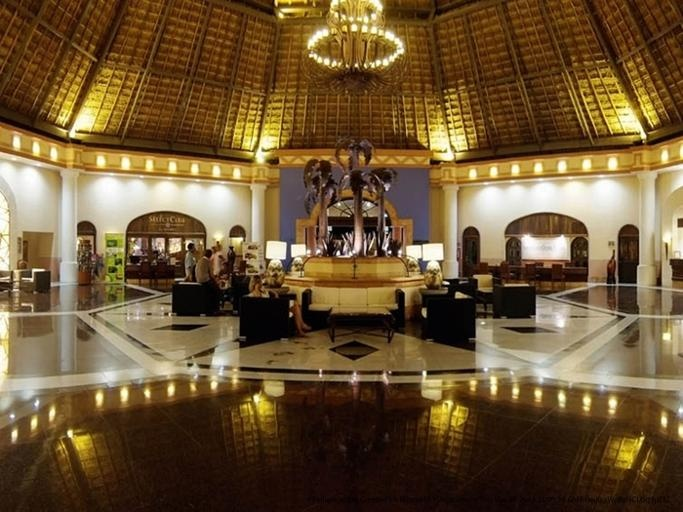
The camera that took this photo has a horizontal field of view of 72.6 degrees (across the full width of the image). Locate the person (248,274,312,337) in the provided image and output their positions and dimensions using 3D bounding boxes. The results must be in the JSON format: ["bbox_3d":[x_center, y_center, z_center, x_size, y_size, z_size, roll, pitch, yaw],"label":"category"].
[{"bbox_3d":[-1.051,0.810,8.029,0.987,1.079,0.938,0,4,-5],"label":"person"}]
